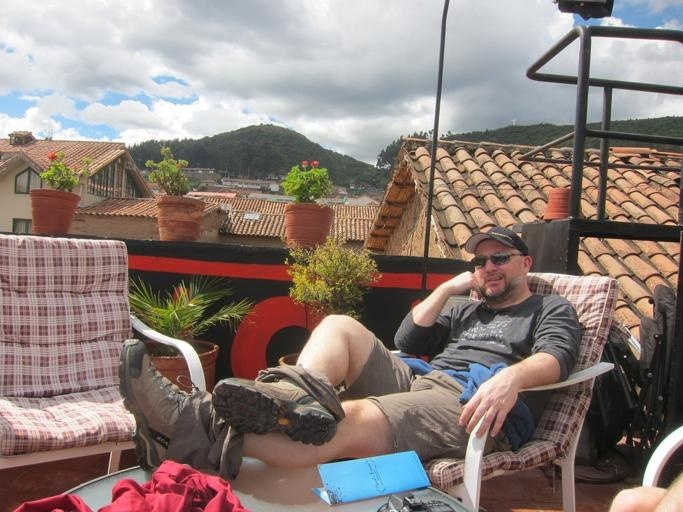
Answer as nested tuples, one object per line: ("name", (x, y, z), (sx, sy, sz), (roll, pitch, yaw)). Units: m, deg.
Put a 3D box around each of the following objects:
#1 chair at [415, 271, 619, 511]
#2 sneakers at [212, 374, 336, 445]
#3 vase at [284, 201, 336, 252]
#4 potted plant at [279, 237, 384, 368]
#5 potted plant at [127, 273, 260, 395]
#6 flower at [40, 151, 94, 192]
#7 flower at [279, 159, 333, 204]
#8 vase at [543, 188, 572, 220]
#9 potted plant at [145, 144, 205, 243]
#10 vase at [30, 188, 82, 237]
("chair", (0.922, 0.705, 3.473), (1.515, 1.606, 1.199), (3, -6, -29))
("sneakers", (-0.323, 0.741, 2.382), (0.340, 0.121, 0.248), (18, 15, -7))
("vase", (-0.316, -0.297, 5.063), (0.523, 0.375, 0.518), (3, 0, -24))
("potted plant", (-0.053, 0.445, 4.786), (1.006, 1.275, 1.134), (2, -3, -4))
("potted plant", (-1.277, 0.652, 4.070), (0.964, 1.048, 0.907), (-2, 0, -10))
("flower", (-2.984, -0.902, 5.329), (0.415, 0.426, 0.448), (18, 24, 23))
("flower", (-0.351, -0.710, 5.093), (0.426, 0.462, 0.455), (6, 20, -1))
("vase", (1.842, -0.448, 4.320), (0.260, 0.235, 0.256), (0, 12, -13))
("potted plant", (-1.671, -0.611, 5.090), (0.500, 0.933, 0.607), (-2, -4, 13))
("vase", (-2.956, -0.430, 5.095), (0.488, 0.430, 0.464), (3, 0, 45))
